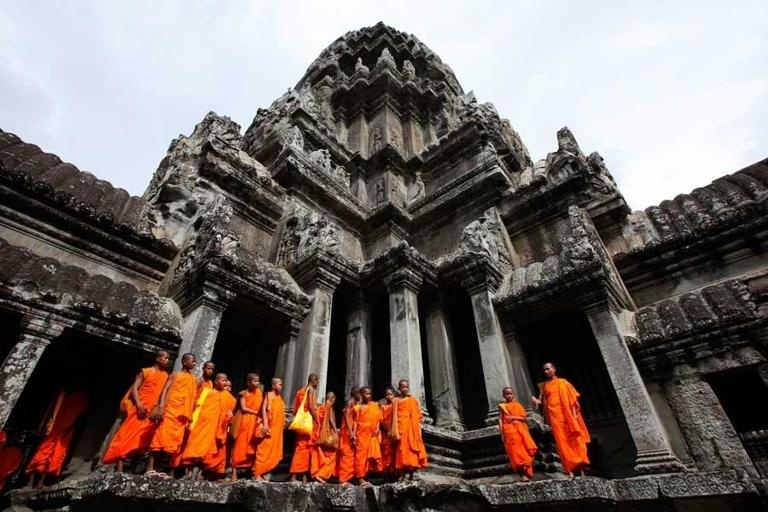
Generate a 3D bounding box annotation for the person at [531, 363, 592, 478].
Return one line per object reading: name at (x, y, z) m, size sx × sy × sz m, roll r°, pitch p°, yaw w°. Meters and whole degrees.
person at (3.268, 2.885, 6.530) m, size 0.622 × 1.742 × 0.600 m, roll 14°, pitch -37°, yaw -19°

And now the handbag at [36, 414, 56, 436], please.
handbag at (-7.202, 3.467, 7.451) m, size 0.407 × 0.366 × 0.099 m, roll -14°, pitch -37°, yaw 19°

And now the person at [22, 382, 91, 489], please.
person at (-7.151, 3.821, 7.653) m, size 0.619 × 2.458 × 0.634 m, roll 31°, pitch -79°, yaw -38°

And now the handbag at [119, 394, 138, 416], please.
handbag at (-4.172, 2.336, 5.713) m, size 0.390 × 0.290 × 0.173 m, roll -24°, pitch -42°, yaw 29°

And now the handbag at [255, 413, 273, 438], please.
handbag at (-2.169, 2.899, 6.227) m, size 0.255 × 0.359 × 0.130 m, roll -2°, pitch -8°, yaw 24°

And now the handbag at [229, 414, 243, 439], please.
handbag at (-2.685, 2.961, 6.296) m, size 0.184 × 0.477 × 0.147 m, roll -33°, pitch -60°, yaw 8°
